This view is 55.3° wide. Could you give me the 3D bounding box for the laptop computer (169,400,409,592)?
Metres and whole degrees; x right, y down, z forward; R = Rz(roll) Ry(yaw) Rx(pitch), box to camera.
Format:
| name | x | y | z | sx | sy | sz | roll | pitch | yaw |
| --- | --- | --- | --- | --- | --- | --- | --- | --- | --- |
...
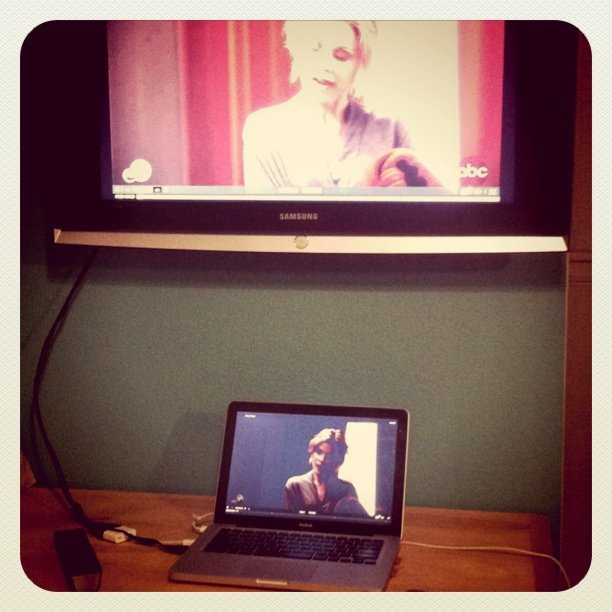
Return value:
| name | x | y | z | sx | sy | sz | roll | pitch | yaw |
| --- | --- | --- | --- | --- | --- | --- | --- | --- | --- |
| laptop computer | -0.012 | 0.341 | 1.047 | 0.371 | 0.215 | 0.316 | 5 | 22 | 11 |
